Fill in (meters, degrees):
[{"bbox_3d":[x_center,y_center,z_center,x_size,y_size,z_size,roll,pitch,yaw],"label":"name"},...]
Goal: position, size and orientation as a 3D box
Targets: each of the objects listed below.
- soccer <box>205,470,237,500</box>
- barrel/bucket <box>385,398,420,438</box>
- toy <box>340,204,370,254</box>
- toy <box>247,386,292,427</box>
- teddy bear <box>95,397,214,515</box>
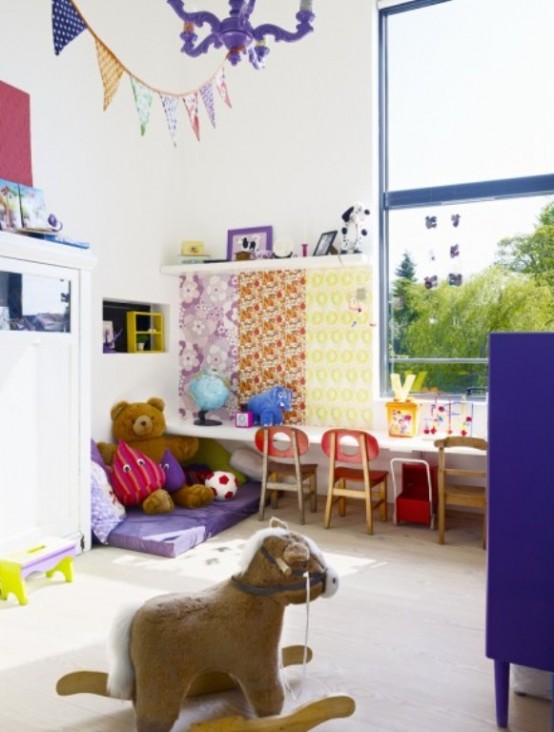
[{"bbox_3d":[-0.357,0.743,3.927,0.166,0.191,0.168,10,7,-5],"label":"soccer"},{"bbox_3d":[0.771,0.322,3.751,0.177,0.219,0.162,0,2,0],"label":"barrel/bucket"},{"bbox_3d":[0.514,-0.875,3.970,0.194,0.325,0.255,0,2,8],"label":"toy"},{"bbox_3d":[-0.042,0.276,4.289,0.360,0.256,0.189,-5,-3,40],"label":"toy"},{"bbox_3d":[-0.749,0.534,3.905,0.687,0.622,0.878,-1,2,-7],"label":"teddy bear"}]
